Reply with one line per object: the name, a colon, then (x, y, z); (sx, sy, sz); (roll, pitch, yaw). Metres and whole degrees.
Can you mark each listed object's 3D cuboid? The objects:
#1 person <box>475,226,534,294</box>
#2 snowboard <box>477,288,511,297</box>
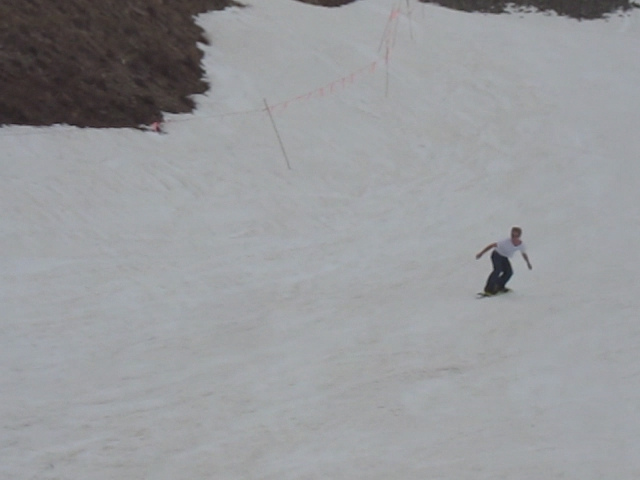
person: (3.686, 0.441, 29.977); (0.846, 1.342, 0.585); (-26, 52, -24)
snowboard: (3.464, 1.011, 29.983); (0.684, 0.206, 0.180); (-2, 105, 1)
